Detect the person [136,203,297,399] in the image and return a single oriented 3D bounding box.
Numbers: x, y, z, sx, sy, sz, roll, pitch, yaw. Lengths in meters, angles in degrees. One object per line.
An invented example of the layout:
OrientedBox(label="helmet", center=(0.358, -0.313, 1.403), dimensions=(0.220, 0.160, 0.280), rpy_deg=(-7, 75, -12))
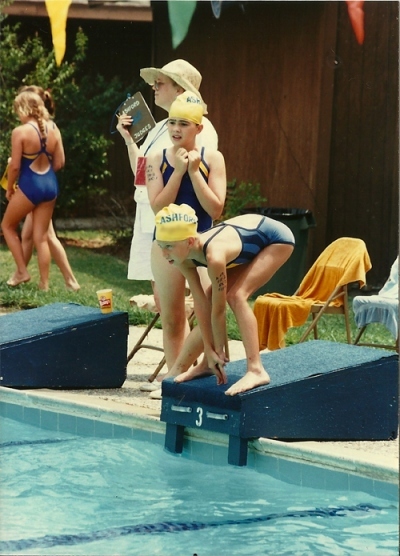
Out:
OrientedBox(label="person", center=(0.137, 0.066, 3.121), dimensions=(0.405, 0.864, 0.672), rpy_deg=(3, 13, 32))

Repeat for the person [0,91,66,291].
OrientedBox(label="person", center=(-1.962, -1.004, 7.665), dimensions=(0.812, 2.255, 0.455), rpy_deg=(-7, 12, -10))

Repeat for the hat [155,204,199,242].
OrientedBox(label="hat", center=(-0.109, -0.248, 2.929), dimensions=(0.145, 0.135, 0.194), rpy_deg=(1, 2, 37))

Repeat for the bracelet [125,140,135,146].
OrientedBox(label="bracelet", center=(-0.475, -0.913, 4.460), dimensions=(0.047, 0.040, 0.047), rpy_deg=(10, 13, 42))

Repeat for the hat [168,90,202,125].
OrientedBox(label="hat", center=(-0.075, -0.880, 3.411), dimensions=(0.141, 0.128, 0.191), rpy_deg=(9, 18, -5))

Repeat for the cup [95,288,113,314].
OrientedBox(label="cup", center=(-0.634, 0.155, 4.439), dimensions=(0.175, 0.170, 0.160), rpy_deg=(-2, 0, 0))

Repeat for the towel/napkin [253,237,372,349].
OrientedBox(label="towel/napkin", center=(0.875, 0.099, 5.389), dimensions=(1.127, 1.050, 0.816), rpy_deg=(3, 2, -21))

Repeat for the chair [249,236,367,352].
OrientedBox(label="chair", center=(0.860, 0.123, 5.145), dimensions=(0.832, 0.814, 0.615), rpy_deg=(-4, 9, -20))
